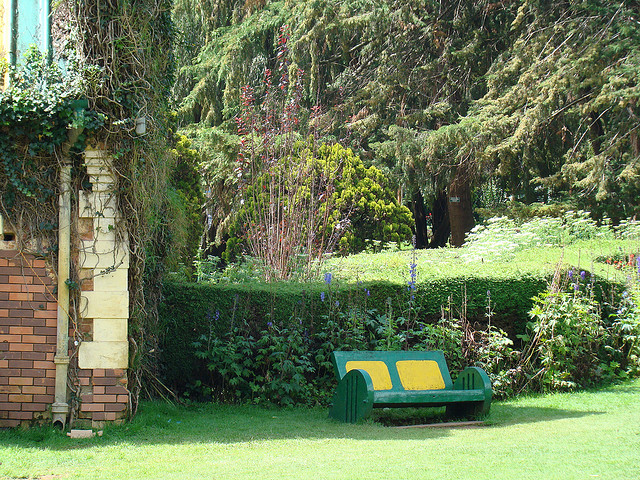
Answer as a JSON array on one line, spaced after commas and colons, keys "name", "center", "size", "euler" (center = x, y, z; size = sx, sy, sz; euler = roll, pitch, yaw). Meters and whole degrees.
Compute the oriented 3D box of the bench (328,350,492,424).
[{"name": "bench", "center": [1.097, 1.835, 11.733], "size": [1.978, 0.850, 0.712], "euler": [0, -3, -12]}]
